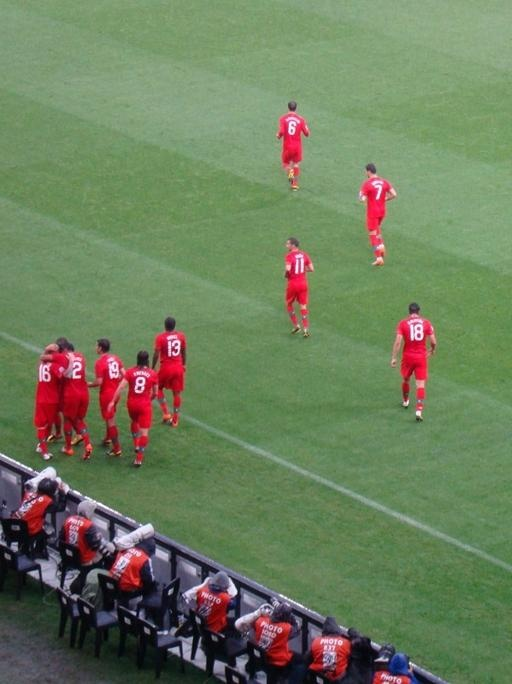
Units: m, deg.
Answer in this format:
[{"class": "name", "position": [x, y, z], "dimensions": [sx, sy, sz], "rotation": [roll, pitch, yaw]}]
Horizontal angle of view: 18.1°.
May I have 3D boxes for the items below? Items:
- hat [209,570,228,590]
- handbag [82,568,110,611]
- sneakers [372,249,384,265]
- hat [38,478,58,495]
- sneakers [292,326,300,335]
[{"class": "hat", "position": [-0.323, 2.129, 14.246], "dimensions": [0.122, 0.113, 0.169], "rotation": [8, 17, -3]}, {"class": "handbag", "position": [-1.430, 2.268, 14.617], "dimensions": [0.163, 0.315, 0.238], "rotation": [9, 21, 6]}, {"class": "sneakers", "position": [1.753, -1.223, 23.959], "dimensions": [0.224, 0.232, 0.114], "rotation": [5, 11, 33]}, {"class": "hat", "position": [-1.995, 1.410, 15.664], "dimensions": [0.121, 0.174, 0.169], "rotation": [5, 22, 0]}, {"class": "sneakers", "position": [0.523, -0.138, 21.548], "dimensions": [0.053, 0.115, 0.163], "rotation": [15, 22, -5]}]
